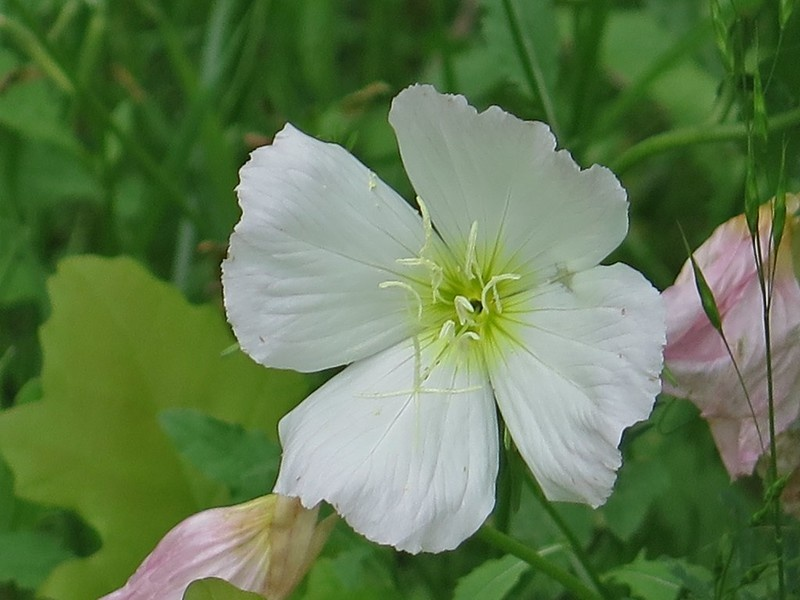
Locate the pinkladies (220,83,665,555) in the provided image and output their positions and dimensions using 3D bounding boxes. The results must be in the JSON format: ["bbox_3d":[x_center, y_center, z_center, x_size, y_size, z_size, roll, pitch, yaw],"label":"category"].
[{"bbox_3d":[0.017,0.014,0.484,0.239,0.176,0.177,8,44,23],"label":"pinkladies"}]

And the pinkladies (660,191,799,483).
[{"bbox_3d":[0.186,0.024,0.553,0.117,0.138,0.045,-16,-3,-12],"label":"pinkladies"}]
